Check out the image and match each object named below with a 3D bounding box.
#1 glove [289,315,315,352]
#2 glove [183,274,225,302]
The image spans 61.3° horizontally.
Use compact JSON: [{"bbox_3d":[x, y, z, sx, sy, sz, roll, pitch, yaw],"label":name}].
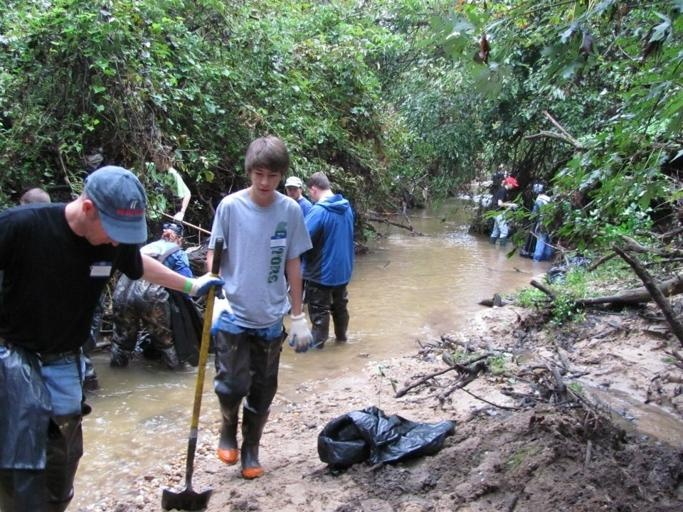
[{"bbox_3d":[-0.369,0.718,5.142,0.227,0.110,0.303,5,7,-3],"label":"glove"},{"bbox_3d":[-1.080,0.225,4.500,0.124,0.118,0.426,41,28,22],"label":"glove"}]
